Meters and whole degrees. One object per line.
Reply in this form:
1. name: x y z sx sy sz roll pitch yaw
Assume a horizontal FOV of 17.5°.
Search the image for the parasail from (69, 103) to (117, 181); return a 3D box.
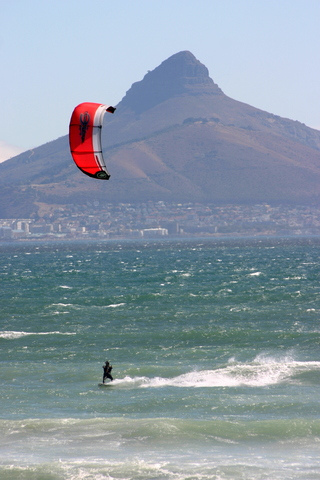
1. parasail: -2.796 -3.940 41.005 1.604 3.433 0.786 -16 -23 32
